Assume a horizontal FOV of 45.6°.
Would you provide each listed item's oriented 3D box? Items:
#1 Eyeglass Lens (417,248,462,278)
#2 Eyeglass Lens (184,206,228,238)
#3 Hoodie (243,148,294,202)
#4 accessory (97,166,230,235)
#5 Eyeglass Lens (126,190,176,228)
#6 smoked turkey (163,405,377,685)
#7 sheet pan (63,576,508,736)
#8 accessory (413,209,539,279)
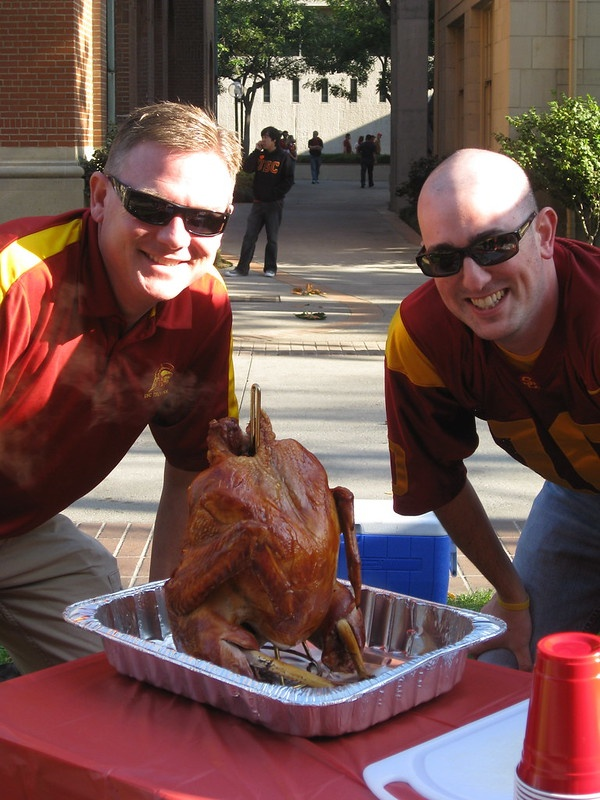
[{"bbox_3d":[0.397,-0.387,1.990,0.091,0.040,0.104,-1,20,14],"label":"Eyeglass Lens"},{"bbox_3d":[-0.261,-0.478,1.943,0.094,0.037,0.088,10,14,17],"label":"Eyeglass Lens"},{"bbox_3d":[-0.627,-4.627,14.663,0.955,1.167,0.637,0,4,13],"label":"Hoodie"},{"bbox_3d":[-0.364,-0.548,2.034,0.303,0.081,0.294,7,23,-26],"label":"accessory"},{"bbox_3d":[-0.403,-0.506,1.894,0.154,0.097,0.031,0,4,18],"label":"Eyeglass Lens"},{"bbox_3d":[-0.117,0.307,1.629,0.438,0.566,0.311,-1,-32,-25],"label":"smoked turkey"},{"bbox_3d":[-0.116,0.538,1.458,0.575,0.090,0.429,-3,-4,40],"label":"sheet pan"},{"bbox_3d":[0.465,-0.392,1.930,0.228,0.067,0.229,-11,22,42],"label":"accessory"}]
